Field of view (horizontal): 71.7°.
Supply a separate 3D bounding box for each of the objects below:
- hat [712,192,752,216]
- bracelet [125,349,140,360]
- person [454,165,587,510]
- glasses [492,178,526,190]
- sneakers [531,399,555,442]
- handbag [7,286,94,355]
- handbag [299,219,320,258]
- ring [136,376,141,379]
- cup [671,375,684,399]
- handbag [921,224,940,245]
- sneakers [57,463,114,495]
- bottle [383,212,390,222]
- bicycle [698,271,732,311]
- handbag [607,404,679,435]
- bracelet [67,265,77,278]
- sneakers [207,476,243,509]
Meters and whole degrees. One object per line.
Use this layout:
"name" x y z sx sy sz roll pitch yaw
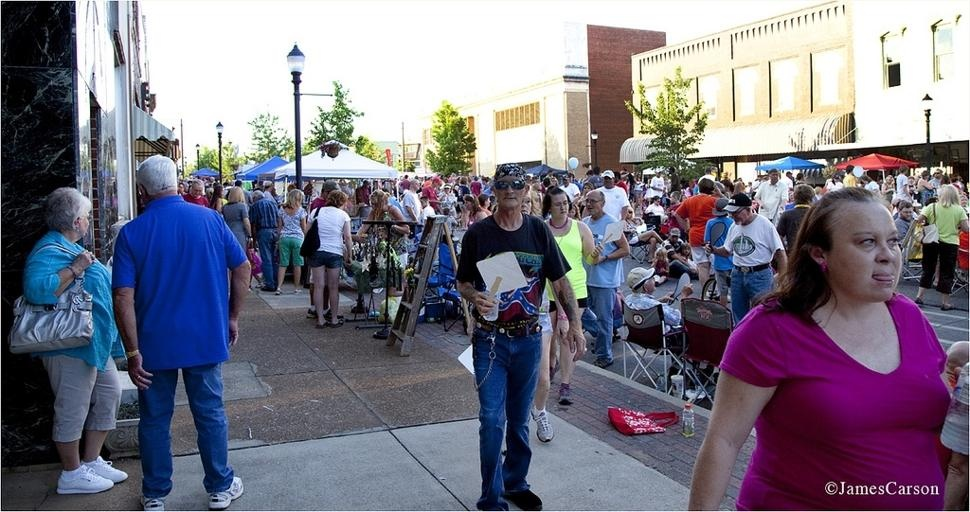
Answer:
"hat" 4.399 -0.925 12.045 0.789 0.302 0.506 -21 17 -16
"bracelet" -3.503 0.970 6.665 0.085 0.033 0.087 -17 5 9
"person" 0.415 0.822 6.927 1.204 3.447 0.966 -3 13 -18
"glasses" 0.253 -0.736 6.836 0.273 0.109 0.094 -1 13 -9
"sneakers" 0.711 2.008 8.206 0.181 0.494 0.197 -21 -25 15
"handbag" -4.362 0.659 6.792 0.677 0.802 0.246 -1 -10 -6
"handbag" -3.256 -0.325 12.511 0.335 0.801 0.349 -2 13 -14
"ring" -3.434 1.201 6.663 0.031 0.032 0.008 -43 5 33
"cup" 2.713 1.821 9.462 0.181 0.285 0.338 4 13 15
"handbag" 9.532 -0.468 14.359 0.220 0.395 0.413 5 -5 -7
"sneakers" -4.195 2.363 7.157 0.627 0.281 0.235 2 1 -12
"bottle" -1.931 -0.778 13.234 0.146 0.193 0.184 -10 29 -18
"bicycle" 4.172 0.611 12.147 0.262 0.334 0.741 -14 -37 8
"handbag" 2.048 2.079 8.546 0.927 0.135 0.515 -1 13 -9
"bracelet" -4.208 0.144 6.837 0.090 0.130 0.040 -3 13 -18
"sneakers" -2.651 2.462 6.972 0.170 0.198 0.430 3 10 14
